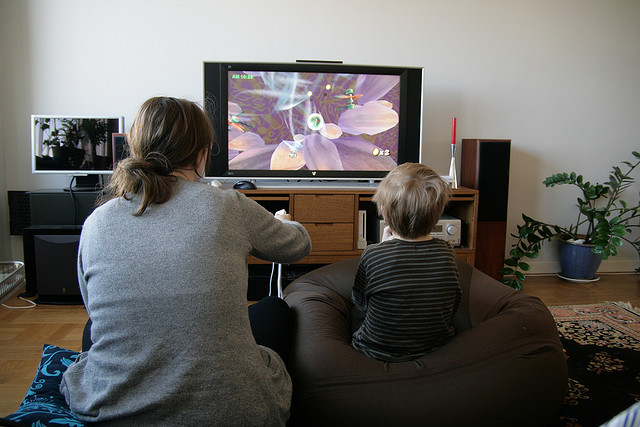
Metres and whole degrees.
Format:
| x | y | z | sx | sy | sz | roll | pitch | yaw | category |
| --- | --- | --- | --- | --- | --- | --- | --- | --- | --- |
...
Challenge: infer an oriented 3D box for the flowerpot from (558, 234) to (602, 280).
| x | y | z | sx | sy | sz | roll | pitch | yaw | category |
| --- | --- | --- | --- | --- | --- | --- | --- | --- | --- |
| 2.282 | 0.406 | 4.462 | 0.392 | 0.353 | 0.312 | 2 | 14 | 0 | flowerpot |

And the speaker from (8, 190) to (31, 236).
| x | y | z | sx | sy | sz | roll | pitch | yaw | category |
| --- | --- | --- | --- | --- | --- | --- | --- | --- | --- |
| -2.541 | 0.003 | 4.155 | 0.255 | 0.391 | 0.097 | 6 | 13 | 20 | speaker |

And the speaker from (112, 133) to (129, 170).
| x | y | z | sx | sy | sz | roll | pitch | yaw | category |
| --- | --- | --- | --- | --- | --- | --- | --- | --- | --- |
| -1.573 | -0.482 | 3.849 | 0.111 | 0.280 | 0.380 | -4 | 13 | -23 | speaker |

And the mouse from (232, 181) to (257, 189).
| x | y | z | sx | sy | sz | roll | pitch | yaw | category |
| --- | --- | --- | --- | --- | --- | --- | --- | --- | --- |
| -0.602 | -0.229 | 3.968 | 0.191 | 0.049 | 0.131 | 1 | 12 | -3 | mouse |

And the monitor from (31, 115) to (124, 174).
| x | y | z | sx | sy | sz | roll | pitch | yaw | category |
| --- | --- | --- | --- | --- | --- | --- | --- | --- | --- |
| -1.994 | -0.563 | 3.874 | 0.763 | 0.513 | 0.161 | 5 | 9 | -4 | monitor |

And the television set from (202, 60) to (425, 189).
| x | y | z | sx | sy | sz | roll | pitch | yaw | category |
| --- | --- | --- | --- | --- | --- | --- | --- | --- | --- |
| -0.085 | -0.735 | 3.917 | 1.241 | 0.666 | 0.140 | 0 | 4 | -3 | television set |

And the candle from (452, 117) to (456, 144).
| x | y | z | sx | sy | sz | roll | pitch | yaw | category |
| --- | --- | --- | --- | --- | --- | --- | --- | --- | --- |
| 1.176 | -0.719 | 4.285 | 0.041 | 0.206 | 0.266 | 4 | 12 | 14 | candle |

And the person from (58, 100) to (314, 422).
| x | y | z | sx | sy | sz | roll | pitch | yaw | category |
| --- | --- | --- | --- | --- | --- | --- | --- | --- | --- |
| -0.565 | 0.192 | 1.959 | 0.906 | 1.249 | 0.502 | 2 | 12 | 4 | person |

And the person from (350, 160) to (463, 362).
| x | y | z | sx | sy | sz | roll | pitch | yaw | category |
| --- | --- | --- | --- | --- | --- | --- | --- | --- | --- |
| 0.428 | 0.236 | 2.400 | 0.528 | 0.929 | 0.378 | 5 | 13 | 15 | person |
